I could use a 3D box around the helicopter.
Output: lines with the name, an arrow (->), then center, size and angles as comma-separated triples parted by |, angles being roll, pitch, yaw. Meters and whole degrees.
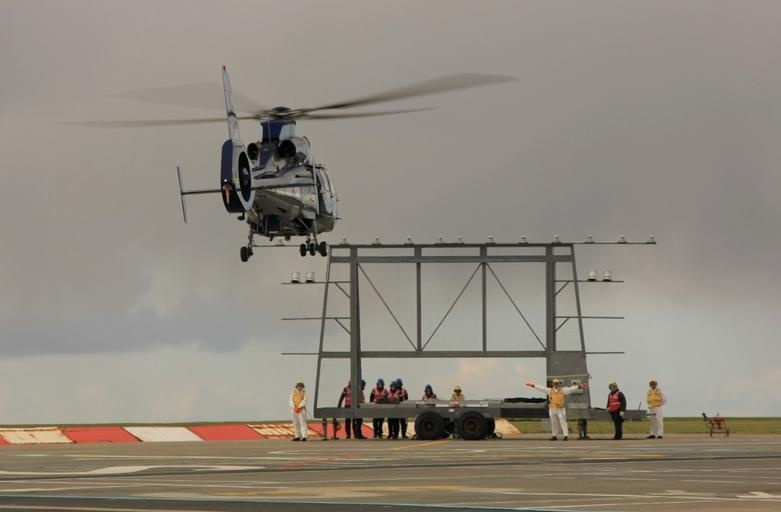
helicopter -> -3.090, -2.933, 46.591 | 19.880, 6.217, 5.664 | 1, -1, 33
